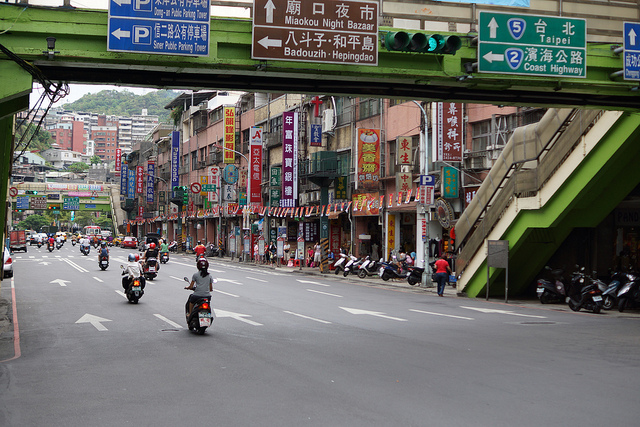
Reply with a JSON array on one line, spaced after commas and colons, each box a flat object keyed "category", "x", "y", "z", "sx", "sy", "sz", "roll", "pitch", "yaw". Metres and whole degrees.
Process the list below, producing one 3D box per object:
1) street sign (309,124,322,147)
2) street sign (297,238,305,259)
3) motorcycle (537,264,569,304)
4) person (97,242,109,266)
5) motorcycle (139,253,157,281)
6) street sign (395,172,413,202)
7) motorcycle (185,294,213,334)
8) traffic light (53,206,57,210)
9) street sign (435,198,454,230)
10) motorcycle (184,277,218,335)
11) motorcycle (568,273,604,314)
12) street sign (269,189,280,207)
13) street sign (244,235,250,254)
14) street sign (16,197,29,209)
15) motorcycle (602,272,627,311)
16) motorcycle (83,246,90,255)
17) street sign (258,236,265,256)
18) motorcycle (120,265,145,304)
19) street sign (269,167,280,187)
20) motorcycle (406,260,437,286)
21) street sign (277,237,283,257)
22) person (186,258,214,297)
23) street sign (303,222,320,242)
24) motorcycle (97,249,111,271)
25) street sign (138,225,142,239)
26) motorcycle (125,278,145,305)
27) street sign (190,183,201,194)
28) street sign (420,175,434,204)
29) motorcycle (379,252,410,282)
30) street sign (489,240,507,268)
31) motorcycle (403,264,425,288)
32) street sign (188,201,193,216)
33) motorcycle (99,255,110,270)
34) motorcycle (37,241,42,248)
[{"category": "street sign", "x": -0.203, "y": -5.657, "z": 47.999, "sx": 0.737, "sy": 1.501, "sz": 1.327, "roll": 3, "pitch": -1, "yaw": 19}, {"category": "street sign", "x": -1.326, "y": 2.303, "z": 45.071, "sx": 0.388, "sy": 1.319, "sz": 0.741, "roll": 4, "pitch": -1, "yaw": -4}, {"category": "motorcycle", "x": 9.621, "y": 2.794, "z": 26.507, "sx": 2.092, "sy": 1.504, "sz": 0.987, "roll": 2, "pitch": -6, "yaw": 2}, {"category": "person", "x": -13.716, "y": 2.278, "z": 42.064, "sx": 0.801, "sy": 0.971, "sz": 1.450, "roll": 0, "pitch": 1, "yaw": -13}, {"category": "motorcycle", "x": -9.053, "y": 2.743, "z": 34.609, "sx": 0.902, "sy": 1.302, "sz": 2.028, "roll": 0, "pitch": 3, "yaw": -18}, {"category": "street sign", "x": 4.612, "y": -1.499, "z": 37.753, "sx": 0.858, "sy": 1.523, "sz": 1.006, "roll": 3, "pitch": -1, "yaw": 24}, {"category": "motorcycle", "x": -3.468, "y": 2.931, "z": 19.513, "sx": 0.455, "sy": 1.076, "sz": 0.848, "roll": 4, "pitch": -1, "yaw": -31}, {"category": "traffic light", "x": -44.871, "y": -1.011, "z": 113.724, "sx": 0.806, "sy": 0.462, "sz": 0.545, "roll": -1, "pitch": -2, "yaw": -44}, {"category": "street sign", "x": 6.364, "y": -0.084, "z": 34.223, "sx": 0.258, "sy": 1.641, "sz": 1.602, "roll": -6, "pitch": -1, "yaw": -14}, {"category": "motorcycle", "x": -3.570, "y": 2.699, "z": 19.899, "sx": 0.856, "sy": 1.582, "sz": 1.562, "roll": 4, "pitch": -1, "yaw": -11}, {"category": "motorcycle", "x": 9.539, "y": 2.916, "z": 24.201, "sx": 0.628, "sy": 1.101, "sz": 1.627, "roll": 10, "pitch": -1, "yaw": -10}, {"category": "street sign", "x": -3.543, "y": -1.223, "z": 52.783, "sx": 0.769, "sy": 1.308, "sz": 0.432, "roll": 4, "pitch": -1, "yaw": -8}, {"category": "street sign", "x": -6.088, "y": 2.520, "z": 55.667, "sx": 0.438, "sy": 1.517, "sz": 1.309, "roll": 4, "pitch": -1, "yaw": -7}, {"category": "street sign", "x": -47.672, "y": -1.865, "z": 107.685, "sx": 1.284, "sy": 1.871, "sz": 2.314, "roll": 3, "pitch": -1, "yaw": 23}, {"category": "motorcycle", "x": 10.554, "y": 2.754, "z": 24.222, "sx": 0.778, "sy": 1.112, "sz": 0.691, "roll": 3, "pitch": -1, "yaw": 13}, {"category": "motorcycle", "x": -21.518, "y": 3.306, "z": 61.772, "sx": 0.805, "sy": 0.997, "sz": 1.660, "roll": 1, "pitch": 1, "yaw": -18}, {"category": "street sign", "x": -4.676, "y": 2.500, "z": 53.039, "sx": 0.478, "sy": 1.432, "sz": 1.143, "roll": 4, "pitch": -1, "yaw": -5}, {"category": "motorcycle", "x": -6.972, "y": 2.882, "z": 25.352, "sx": 0.485, "sy": 1.331, "sz": 0.614, "roll": 4, "pitch": -1, "yaw": -32}, {"category": "street sign", "x": -3.519, "y": -2.835, "z": 52.428, "sx": 0.738, "sy": 1.447, "sz": 0.709, "roll": 3, "pitch": -1, "yaw": 2}, {"category": "motorcycle", "x": 5.244, "y": 3.151, "z": 34.083, "sx": 1.569, "sy": 1.019, "sz": 0.814, "roll": 1, "pitch": 0, "yaw": -14}, {"category": "street sign", "x": -2.891, "y": 2.418, "z": 48.513, "sx": 0.438, "sy": 1.339, "sz": 1.674, "roll": 4, "pitch": -1, "yaw": -4}, {"category": "person", "x": -3.481, "y": 1.954, "z": 20.436, "sx": 1.110, "sy": 1.325, "sz": 1.964, "roll": 0, "pitch": -2, "yaw": -5}, {"category": "street sign", "x": -0.635, "y": 1.350, "z": 51.726, "sx": 1.368, "sy": 1.627, "sz": 0.199, "roll": 1, "pitch": 2, "yaw": 36}, {"category": "motorcycle", "x": -13.467, "y": 2.978, "z": 41.787, "sx": 0.455, "sy": 1.239, "sz": 0.610, "roll": 4, "pitch": -1, "yaw": -20}, {"category": "street sign", "x": -33.406, "y": 3.200, "z": 124.729, "sx": 0.706, "sy": 2.530, "sz": 2.640, "roll": 4, "pitch": -1, "yaw": -17}, {"category": "motorcycle", "x": -6.982, "y": 2.879, "z": 25.299, "sx": 0.593, "sy": 0.994, "sz": 0.473, "roll": 4, "pitch": -1, "yaw": -18}, {"category": "street sign", "x": -13.144, "y": -2.778, "z": 71.250, "sx": 0.860, "sy": 1.097, "sz": 2.730, "roll": 4, "pitch": -1, "yaw": -13}, {"category": "street sign", "x": 5.133, "y": -1.153, "z": 32.534, "sx": 0.671, "sy": 1.245, "sz": 0.348, "roll": 4, "pitch": -1, "yaw": -11}, {"category": "motorcycle", "x": 4.036, "y": 2.912, "z": 36.361, "sx": 1.661, "sy": 1.408, "sz": 1.175, "roll": 3, "pitch": -1, "yaw": 30}, {"category": "street sign", "x": 7.068, "y": 1.681, "z": 26.882, "sx": 0.798, "sy": 1.574, "sz": 0.187, "roll": 2, "pitch": 24, "yaw": 18}, {"category": "motorcycle", "x": 4.729, "y": 3.155, "z": 34.345, "sx": 0.804, "sy": 0.653, "sz": 1.419, "roll": -4, "pitch": 2, "yaw": -11}, {"category": "street sign", "x": -16.393, "y": -1.035, "z": 85.192, "sx": 0.351, "sy": 1.439, "sz": 1.522, "roll": 4, "pitch": -1, "yaw": -23}, {"category": "motorcycle", "x": -13.399, "y": 3.033, "z": 41.676, "sx": 0.452, "sy": 0.902, "sz": 0.512, "roll": 2, "pitch": 40, "yaw": -14}, {"category": "motorcycle", "x": -38.339, "y": 4.160, "z": 91.876, "sx": 0.753, "sy": 0.717, "sz": 1.256, "roll": -4, "pitch": -4, "yaw": -16}]
